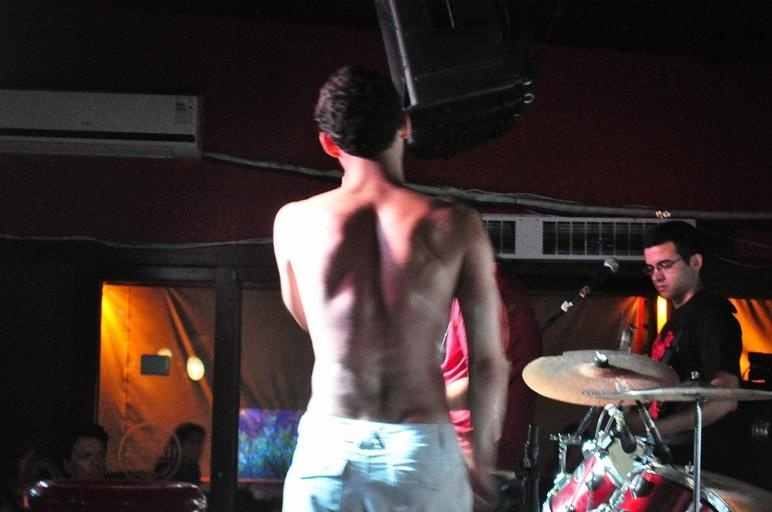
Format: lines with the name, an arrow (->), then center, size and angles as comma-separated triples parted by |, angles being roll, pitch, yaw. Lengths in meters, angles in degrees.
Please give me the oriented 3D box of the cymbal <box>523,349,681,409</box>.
cymbal -> 1.361, 0.719, 5.019 | 0.944, 0.180, 0.910 | -3, 14, -10
